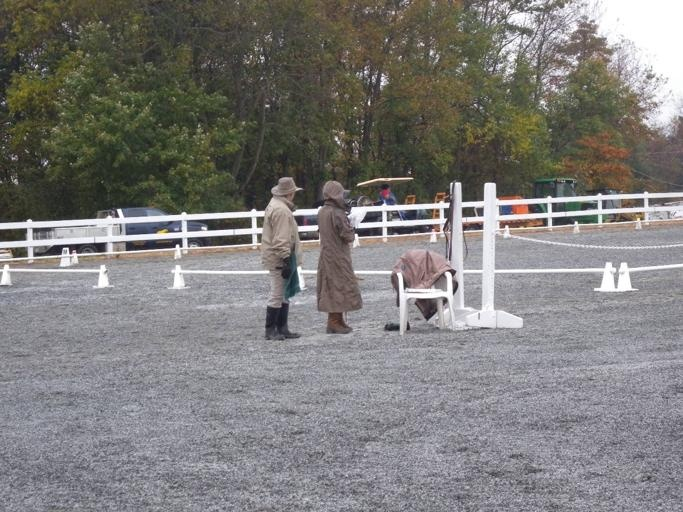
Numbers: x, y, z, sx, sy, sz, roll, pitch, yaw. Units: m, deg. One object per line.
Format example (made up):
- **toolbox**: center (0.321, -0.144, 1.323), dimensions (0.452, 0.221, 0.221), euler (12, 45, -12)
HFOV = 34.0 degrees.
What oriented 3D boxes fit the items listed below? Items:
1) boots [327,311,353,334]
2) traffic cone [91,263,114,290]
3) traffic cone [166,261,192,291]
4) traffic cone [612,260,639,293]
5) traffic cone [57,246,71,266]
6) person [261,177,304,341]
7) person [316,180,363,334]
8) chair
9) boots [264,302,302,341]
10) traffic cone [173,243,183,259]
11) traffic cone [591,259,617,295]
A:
- **boots**: center (0.019, 1.418, 23.995), dimensions (0.565, 0.634, 0.322), euler (-2, 4, -10)
- **traffic cone**: center (-6.377, 0.500, 29.385), dimensions (0.544, 0.869, 0.628), euler (3, 3, 17)
- **traffic cone**: center (-4.237, 0.553, 28.991), dimensions (0.517, 0.638, 0.557), euler (0, 2, -1)
- **traffic cone**: center (6.873, 0.450, 26.971), dimensions (0.591, 0.727, 0.605), euler (-8, 9, -22)
- **traffic cone**: center (-8.932, -0.011, 35.800), dimensions (0.433, 0.902, 0.425), euler (6, 7, 13)
- **person**: center (-1.293, 0.053, 24.102), dimensions (0.832, 3.440, 1.330), euler (1, 2, 4)
- **person**: center (-0.026, 0.008, 24.281), dimensions (0.933, 3.278, 0.970), euler (1, -1, -32)
- **chair**: center (1.797, 0.688, 24.142), dimensions (1.349, 1.704, 1.311), euler (-2, 8, -7)
- **boots**: center (-1.270, 1.366, 23.776), dimensions (0.641, 0.868, 0.710), euler (-1, -2, 25)
- **traffic cone**: center (-5.359, -0.182, 36.418), dimensions (0.416, 0.486, 0.173), euler (-2, 15, -14)
- **traffic cone**: center (6.376, 0.502, 27.000), dimensions (0.596, 0.784, 0.636), euler (1, 6, 16)
